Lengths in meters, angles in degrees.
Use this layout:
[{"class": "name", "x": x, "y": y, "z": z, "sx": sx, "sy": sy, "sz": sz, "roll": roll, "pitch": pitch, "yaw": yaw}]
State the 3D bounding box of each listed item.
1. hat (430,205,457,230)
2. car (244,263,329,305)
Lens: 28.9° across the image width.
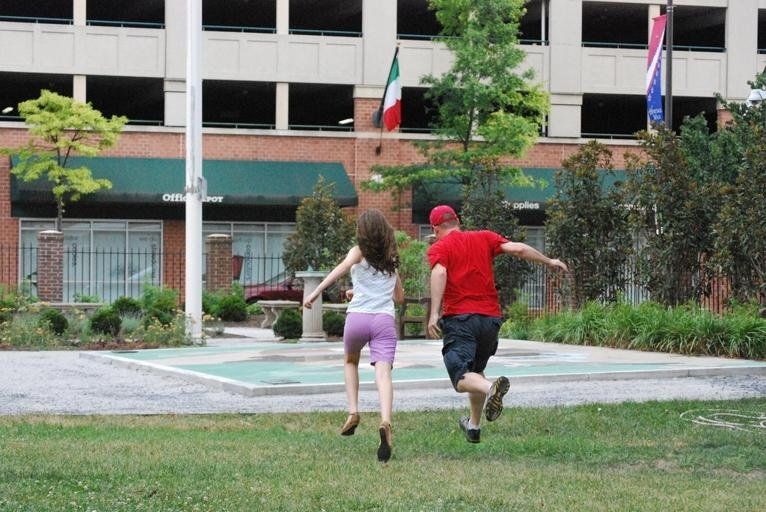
[{"class": "hat", "x": 1.417, "y": -0.988, "z": 35.417, "sx": 0.629, "sy": 0.516, "sz": 1.067, "roll": -7, "pitch": 4, "yaw": -2}, {"class": "car", "x": -3.551, "y": 0.857, "z": 55.495, "sx": 3.075, "sy": 1.434, "sz": 1.576, "roll": 2, "pitch": -3, "yaw": -3}]
